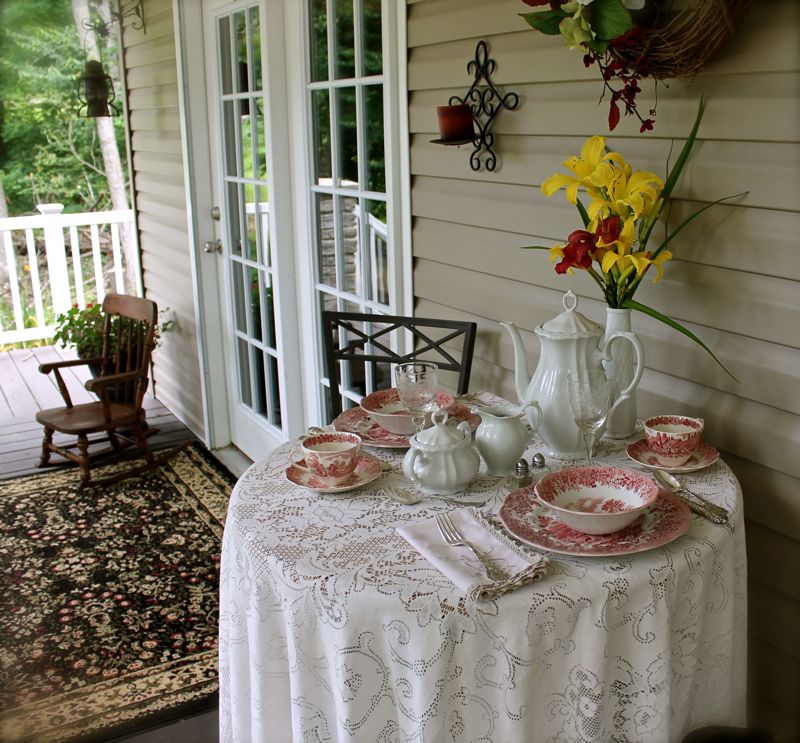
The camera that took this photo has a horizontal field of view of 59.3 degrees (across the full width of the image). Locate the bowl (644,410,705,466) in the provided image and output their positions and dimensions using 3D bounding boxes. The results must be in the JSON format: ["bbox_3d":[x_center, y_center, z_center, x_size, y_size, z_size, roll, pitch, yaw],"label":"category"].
[{"bbox_3d":[0.526,0.137,1.338,0.123,0.070,0.110,0,15,7],"label":"bowl"}]

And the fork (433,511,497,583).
[{"bbox_3d":[0.104,0.269,1.101,0.027,0.023,0.171,-13,29,-13],"label":"fork"}]

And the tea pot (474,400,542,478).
[{"bbox_3d":[0.206,0.129,1.353,0.140,0.121,0.102,0,7,22],"label":"tea pot"}]

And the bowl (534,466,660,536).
[{"bbox_3d":[0.313,0.209,1.135,0.167,0.046,0.160,-10,17,3],"label":"bowl"}]

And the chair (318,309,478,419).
[{"bbox_3d":[0.006,-0.035,2.074,0.328,0.471,0.295,10,35,17],"label":"chair"}]

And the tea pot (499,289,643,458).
[{"bbox_3d":[0.366,0.006,1.451,0.369,0.324,0.244,12,25,41],"label":"tea pot"}]

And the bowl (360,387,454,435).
[{"bbox_3d":[0.004,0.101,1.576,0.186,0.054,0.167,-5,26,-23],"label":"bowl"}]

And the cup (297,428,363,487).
[{"bbox_3d":[-0.154,0.171,1.339,0.132,0.070,0.104,-8,18,-19],"label":"cup"}]
